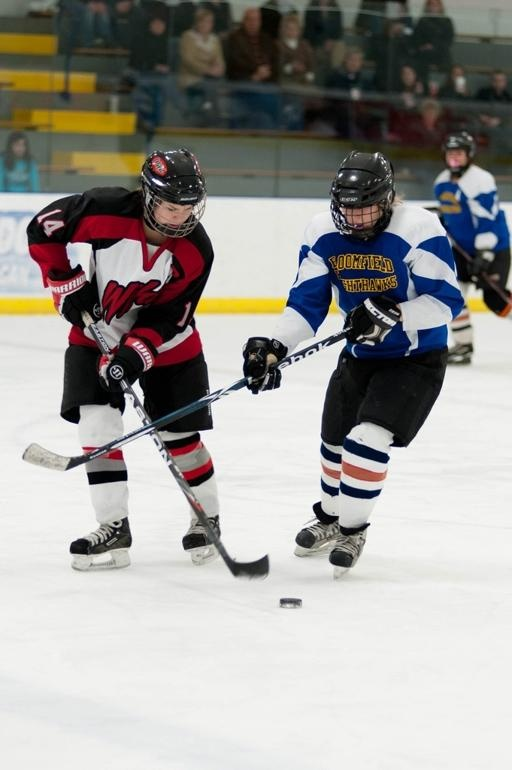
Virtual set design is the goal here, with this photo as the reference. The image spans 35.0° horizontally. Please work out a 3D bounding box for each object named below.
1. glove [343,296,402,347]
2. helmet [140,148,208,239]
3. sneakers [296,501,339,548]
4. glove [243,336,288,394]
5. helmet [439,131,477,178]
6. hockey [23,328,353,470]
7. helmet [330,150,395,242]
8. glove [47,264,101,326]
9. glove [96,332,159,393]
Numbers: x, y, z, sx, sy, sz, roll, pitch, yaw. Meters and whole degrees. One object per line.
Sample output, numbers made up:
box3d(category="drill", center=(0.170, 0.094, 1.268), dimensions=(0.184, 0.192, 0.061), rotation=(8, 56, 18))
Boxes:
box3d(category="glove", center=(0.305, -0.155, 2.057), dimensions=(0.126, 0.111, 0.092), rotation=(24, 33, 5))
box3d(category="helmet", center=(-0.216, -0.502, 2.029), dimensions=(0.163, 0.180, 0.188), rotation=(-10, 45, -28))
box3d(category="sneakers", center=(0.177, 0.415, 2.374), dimensions=(0.063, 0.119, 0.187), rotation=(22, 8, 27))
box3d(category="glove", center=(0.030, -0.034, 2.183), dimensions=(0.165, 0.143, 0.060), rotation=(-6, 62, 1))
box3d(category="helmet", center=(1.464, -1.634, 5.692), dimensions=(0.257, 0.307, 0.347), rotation=(4, 22, 21))
box3d(category="hockey", center=(-0.233, 0.076, 2.869), dimensions=(1.466, 0.103, 0.160), rotation=(-24, 57, -19))
box3d(category="helmet", center=(0.282, -0.498, 2.087), dimensions=(0.158, 0.186, 0.199), rotation=(18, 44, 27))
box3d(category="glove", center=(-0.491, -0.226, 2.189), dimensions=(0.134, 0.171, 0.070), rotation=(-16, 26, 6))
box3d(category="glove", center=(-0.294, -0.055, 2.053), dimensions=(0.164, 0.078, 0.117), rotation=(-30, 26, -15))
